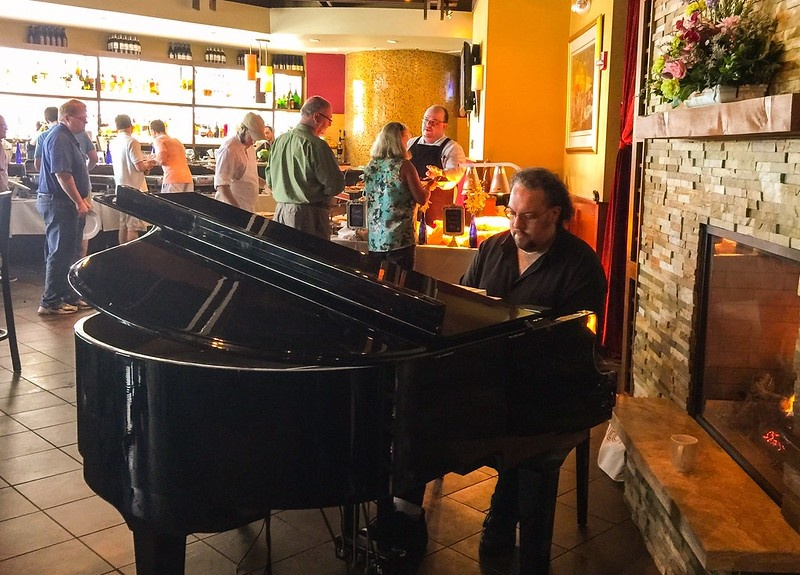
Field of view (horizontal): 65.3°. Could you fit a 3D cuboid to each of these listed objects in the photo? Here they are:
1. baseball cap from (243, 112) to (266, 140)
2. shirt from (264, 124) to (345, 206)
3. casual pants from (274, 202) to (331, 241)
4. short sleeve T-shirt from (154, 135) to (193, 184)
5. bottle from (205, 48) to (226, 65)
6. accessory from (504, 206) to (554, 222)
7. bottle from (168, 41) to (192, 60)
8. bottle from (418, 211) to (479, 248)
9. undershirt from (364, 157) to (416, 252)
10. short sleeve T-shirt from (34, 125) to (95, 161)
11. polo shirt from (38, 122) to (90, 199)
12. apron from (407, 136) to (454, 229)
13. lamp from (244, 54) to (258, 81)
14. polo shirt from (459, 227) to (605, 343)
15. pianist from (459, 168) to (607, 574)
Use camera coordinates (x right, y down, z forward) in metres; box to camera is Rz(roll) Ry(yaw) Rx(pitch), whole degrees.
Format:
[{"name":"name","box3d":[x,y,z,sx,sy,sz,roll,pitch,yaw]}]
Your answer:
[{"name":"baseball cap","box3d":[-1.433,-1.556,6.067,0.199,0.242,0.180,-3,13,-14]},{"name":"shirt","box3d":[-0.844,-1.062,5.381,0.734,0.625,0.405,12,18,30]},{"name":"casual pants","box3d":[-0.721,-0.503,4.654,0.446,0.321,0.286,9,13,24]},{"name":"short sleeve T-shirt","box3d":[-2.710,-1.527,7.476,0.407,0.567,0.206,-10,16,-38]},{"name":"bottle","box3d":[-3.051,-3.786,10.243,0.369,0.280,0.121,-2,4,-34]},{"name":"accessory","box3d":[0.624,-0.338,2.918,0.151,0.049,0.147,-2,6,-30]},{"name":"bottle","box3d":[-3.502,-3.750,9.957,0.395,0.311,0.245,-7,14,-29]},{"name":"bottle","box3d":[0.400,-0.462,5.083,0.354,0.252,0.042,5,10,2]},{"name":"undershirt","box3d":[-0.067,-0.661,4.967,0.416,0.726,0.442,1,5,-17]},{"name":"short sleeve T-shirt","box3d":[-3.836,-1.658,7.136,0.576,0.475,0.284,-2,-1,-8]},{"name":"polo shirt","box3d":[-3.326,-1.238,6.372,0.587,0.859,0.977,-3,13,-27]},{"name":"apron","box3d":[0.310,-1.061,5.921,0.414,1.064,0.332,-1,46,6]},{"name":"lamp","box3d":[-2.195,-3.247,9.204,0.151,0.368,0.340,-4,13,-16]},{"name":"polo shirt","box3d":[0.773,0.094,3.150,0.405,0.635,0.869,7,-8,-8]},{"name":"pianist","box3d":[0.573,0.438,3.042,0.699,1.937,0.659,3,5,27]}]
